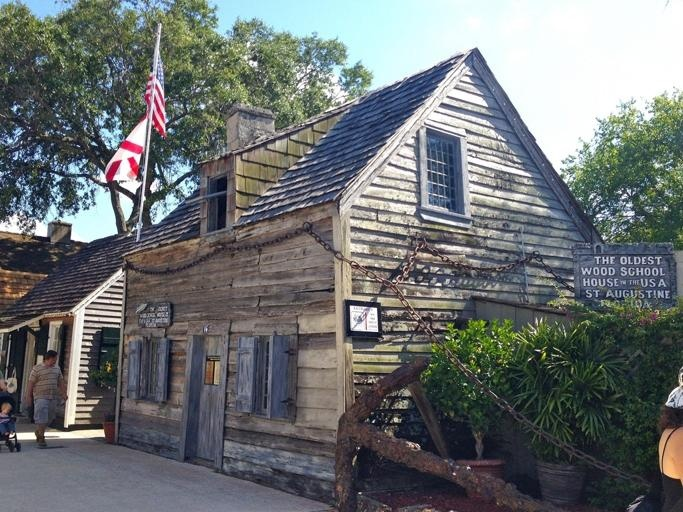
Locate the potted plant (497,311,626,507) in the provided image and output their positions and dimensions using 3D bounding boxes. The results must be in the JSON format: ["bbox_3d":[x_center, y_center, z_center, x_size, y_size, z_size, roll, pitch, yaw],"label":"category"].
[{"bbox_3d":[3.794,2.538,11.653,2.429,3.645,2.573,3,-7,-18],"label":"potted plant"}]

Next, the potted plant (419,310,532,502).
[{"bbox_3d":[2.531,2.361,10.719,2.022,2.965,2.407,-4,-11,1],"label":"potted plant"}]
